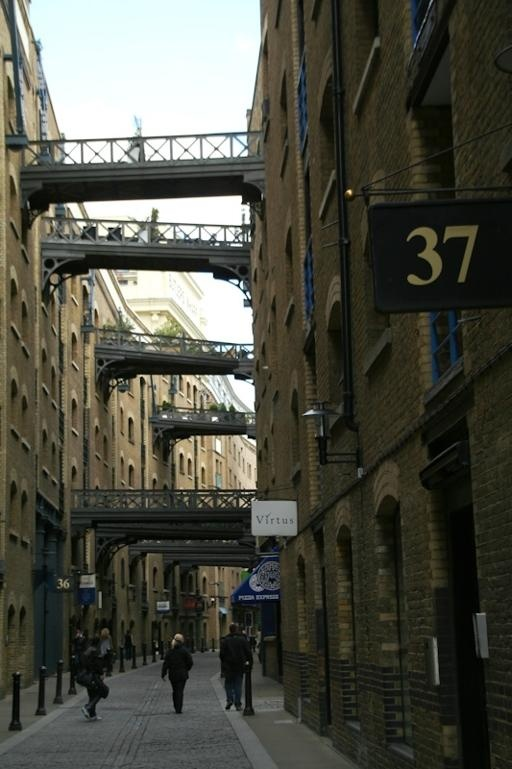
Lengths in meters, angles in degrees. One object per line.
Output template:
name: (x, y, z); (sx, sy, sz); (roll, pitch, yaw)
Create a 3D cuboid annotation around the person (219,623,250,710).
person: (-0.378, 5.154, 18.151); (0.580, 1.574, 2.008); (-1, -21, -2)
